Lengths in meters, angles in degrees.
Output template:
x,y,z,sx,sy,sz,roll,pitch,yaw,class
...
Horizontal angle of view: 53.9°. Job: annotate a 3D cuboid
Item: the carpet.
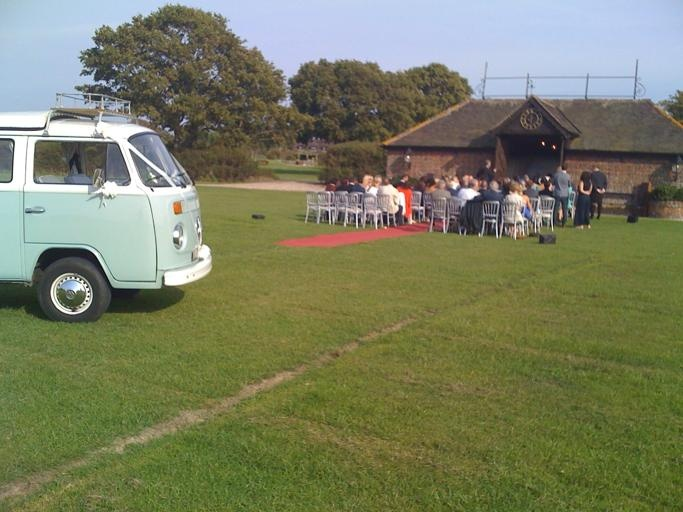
x,y,z,sx,sy,sz,roll,pitch,yaw,class
0.442,-0.483,17.684,1.661,0.119,6.013,9,12,36,carpet
